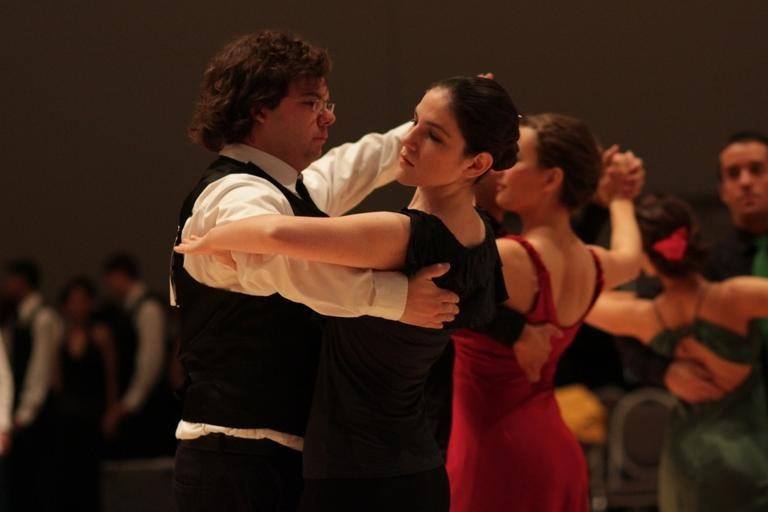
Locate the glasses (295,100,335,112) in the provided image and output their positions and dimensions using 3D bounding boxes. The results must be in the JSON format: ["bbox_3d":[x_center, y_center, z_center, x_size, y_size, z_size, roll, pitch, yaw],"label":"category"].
[{"bbox_3d":[-0.306,-0.643,3.688,0.092,0.026,0.087,-1,-2,24],"label":"glasses"}]
